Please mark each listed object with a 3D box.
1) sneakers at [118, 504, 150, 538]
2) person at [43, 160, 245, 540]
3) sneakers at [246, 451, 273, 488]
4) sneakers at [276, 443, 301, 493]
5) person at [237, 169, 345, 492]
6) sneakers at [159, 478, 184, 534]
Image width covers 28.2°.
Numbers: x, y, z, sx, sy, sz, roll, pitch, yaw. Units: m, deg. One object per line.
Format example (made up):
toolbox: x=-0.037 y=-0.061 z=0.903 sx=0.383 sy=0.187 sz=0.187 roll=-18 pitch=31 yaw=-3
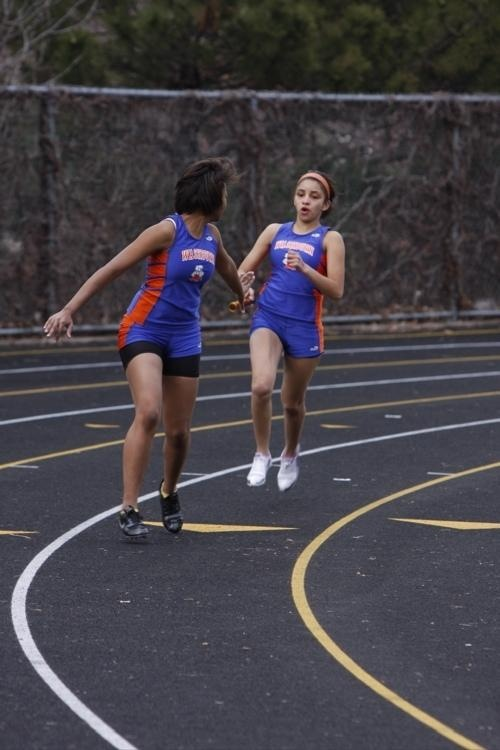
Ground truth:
sneakers: x=-0.634 y=0.774 z=5.382 sx=0.096 sy=0.118 sz=0.240 roll=-3 pitch=4 yaw=-20
person: x=-0.504 y=-0.108 z=5.247 sx=0.761 sy=2.069 sz=1.049 roll=1 pitch=5 yaw=6
sneakers: x=0.037 y=0.551 z=6.086 sx=0.103 sy=0.138 sz=0.309 roll=1 pitch=22 yaw=14
sneakers: x=0.239 y=0.594 z=6.426 sx=0.105 sy=0.311 sz=0.125 roll=5 pitch=-2 yaw=13
person: x=0.232 y=-0.227 z=6.113 sx=0.630 sy=2.082 sz=0.937 roll=1 pitch=5 yaw=-1
sneakers: x=-0.452 y=0.736 z=5.627 sx=0.105 sy=0.311 sz=0.131 roll=-10 pitch=-1 yaw=-19
